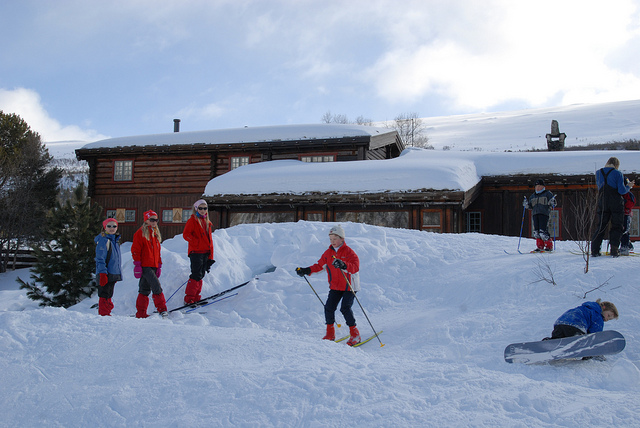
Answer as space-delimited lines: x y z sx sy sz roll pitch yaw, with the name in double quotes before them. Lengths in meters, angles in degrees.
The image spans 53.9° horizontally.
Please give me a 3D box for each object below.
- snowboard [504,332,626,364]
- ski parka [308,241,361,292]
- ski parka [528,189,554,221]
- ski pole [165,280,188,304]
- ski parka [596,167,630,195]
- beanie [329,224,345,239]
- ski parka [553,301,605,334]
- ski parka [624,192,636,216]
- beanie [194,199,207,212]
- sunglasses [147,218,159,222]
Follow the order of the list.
"snowboard" 4.489 2.445 11.476 2.189 0.457 0.181 -3 2 -1
"ski parka" 0.331 1.025 12.352 0.838 0.969 0.409 -2 2 34
"ski parka" 5.638 -0.274 16.045 0.655 0.668 0.364 -2 2 34
"ski pole" -3.424 1.879 15.043 0.688 0.037 0.088 -50 29 -22
"ski parka" 6.691 -0.715 14.556 0.844 0.734 0.439 -2 -16 42
"beanie" 0.364 0.335 12.372 0.248 0.205 0.254 1 5 35
"ski parka" 4.922 1.904 11.697 0.677 0.321 0.514 -9 13 -21
"ski parka" 7.436 -0.242 15.095 0.206 0.608 1.255 -2 2 27
"beanie" -2.814 -0.228 14.613 0.276 0.199 0.371 2 -5 -20
"sunglasses" -3.641 0.128 13.643 0.125 0.045 0.125 -13 -9 31
